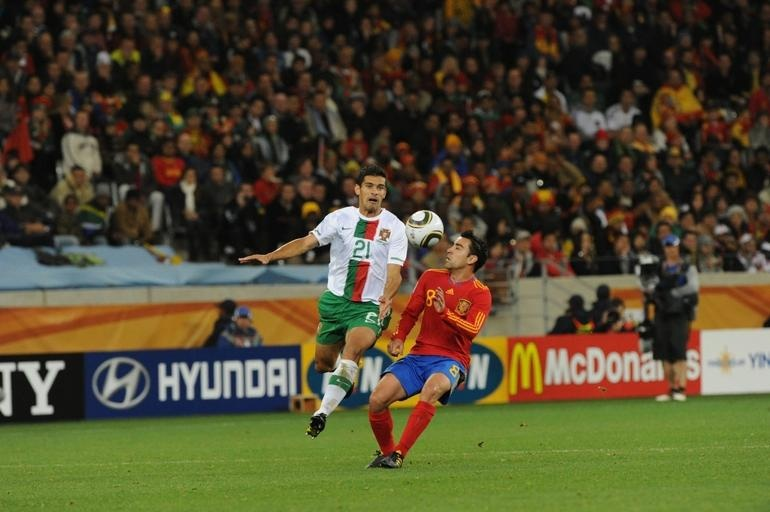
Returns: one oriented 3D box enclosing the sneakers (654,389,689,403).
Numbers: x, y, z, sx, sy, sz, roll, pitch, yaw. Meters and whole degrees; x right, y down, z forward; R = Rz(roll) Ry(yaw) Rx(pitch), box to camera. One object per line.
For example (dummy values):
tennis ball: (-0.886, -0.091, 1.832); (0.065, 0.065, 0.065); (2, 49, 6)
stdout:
sneakers: (5.051, 2.504, 24.717); (0.534, 0.225, 0.204); (2, -8, 11)

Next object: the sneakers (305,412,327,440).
sneakers: (-1.005, 2.464, 19.794); (0.283, 0.197, 0.542); (-26, -15, -17)

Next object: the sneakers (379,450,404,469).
sneakers: (0.090, 2.871, 19.617); (0.275, 0.253, 0.108); (3, -9, -22)

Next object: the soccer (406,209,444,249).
soccer: (0.571, -0.368, 20.933); (0.537, 0.529, 0.532); (-11, 32, -26)

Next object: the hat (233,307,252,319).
hat: (-2.598, 1.051, 25.478); (0.196, 0.252, 0.253); (-5, -44, -47)

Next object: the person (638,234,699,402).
person: (5.011, 1.107, 24.563); (0.699, 2.893, 0.995); (7, -11, -41)

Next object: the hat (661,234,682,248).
hat: (4.984, -0.249, 24.574); (0.251, 0.245, 0.341); (-3, -8, 18)
